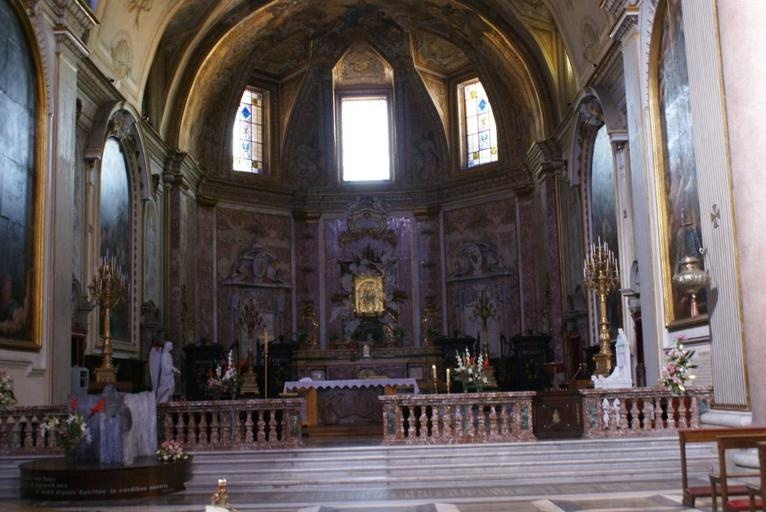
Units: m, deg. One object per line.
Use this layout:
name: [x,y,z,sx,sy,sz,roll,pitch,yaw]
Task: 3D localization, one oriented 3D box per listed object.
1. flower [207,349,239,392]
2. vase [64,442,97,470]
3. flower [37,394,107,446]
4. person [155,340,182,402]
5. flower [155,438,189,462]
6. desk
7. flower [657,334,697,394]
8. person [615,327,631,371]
flower: [-4.266,3.138,21.995,0.698,1.099,0.665,-6,11,-19]
vase: [-5.755,3.776,15.704,0.561,0.696,0.483,3,-1,-19]
flower: [-5.764,3.199,15.719,0.914,0.851,1.019,1,17,-26]
person: [-5.156,2.687,19.716,0.465,1.591,1.821,0,-12,-15]
flower: [-4.109,3.747,15.957,0.437,0.333,0.455,8,-8,-30]
desk: [-1.053,3.981,22.764,3.182,1.303,1.325,-2,-12,-5]
flower: [6.167,2.254,17.172,0.622,1.172,1.180,-13,-15,43]
person: [5.466,2.091,18.838,0.268,0.847,0.535,-4,-11,9]
